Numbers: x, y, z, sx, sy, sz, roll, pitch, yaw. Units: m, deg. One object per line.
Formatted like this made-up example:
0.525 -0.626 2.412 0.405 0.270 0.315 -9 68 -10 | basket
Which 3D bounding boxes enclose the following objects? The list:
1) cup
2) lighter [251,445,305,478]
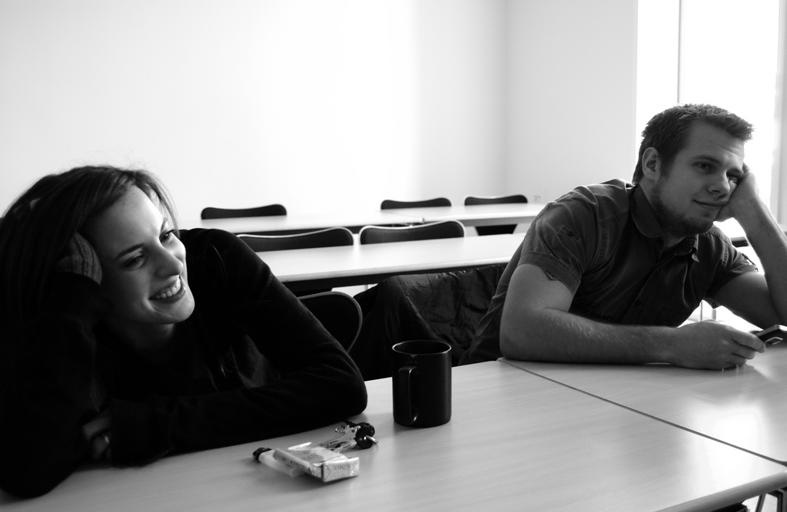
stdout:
0.048 0.286 1.334 0.118 0.162 0.190 2 4 26 | cup
-0.232 0.402 1.200 0.057 0.013 0.058 8 0 37 | lighter
